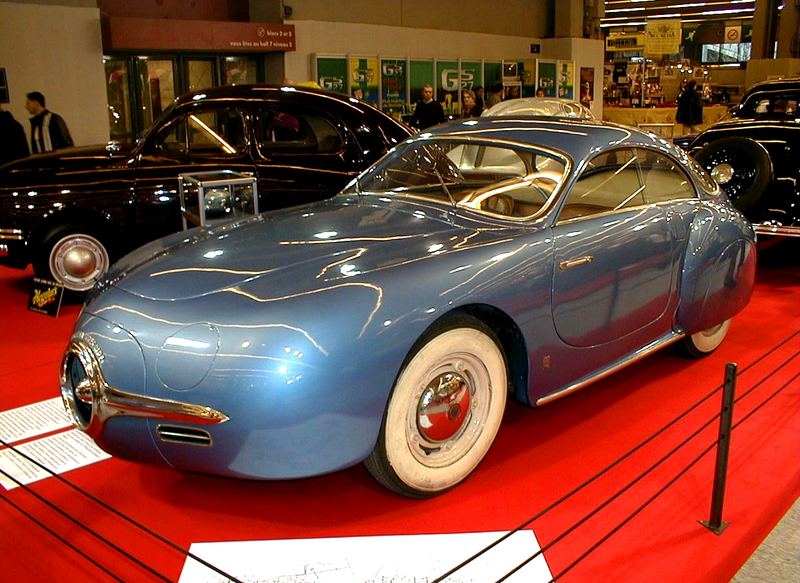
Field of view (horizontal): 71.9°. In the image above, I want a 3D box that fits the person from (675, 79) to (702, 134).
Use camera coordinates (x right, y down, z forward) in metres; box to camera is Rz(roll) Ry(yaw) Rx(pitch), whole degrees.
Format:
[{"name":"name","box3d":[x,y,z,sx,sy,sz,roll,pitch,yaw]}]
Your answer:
[{"name":"person","box3d":[9.373,-5.917,17.850,0.741,1.979,0.663,20,60,40]}]
